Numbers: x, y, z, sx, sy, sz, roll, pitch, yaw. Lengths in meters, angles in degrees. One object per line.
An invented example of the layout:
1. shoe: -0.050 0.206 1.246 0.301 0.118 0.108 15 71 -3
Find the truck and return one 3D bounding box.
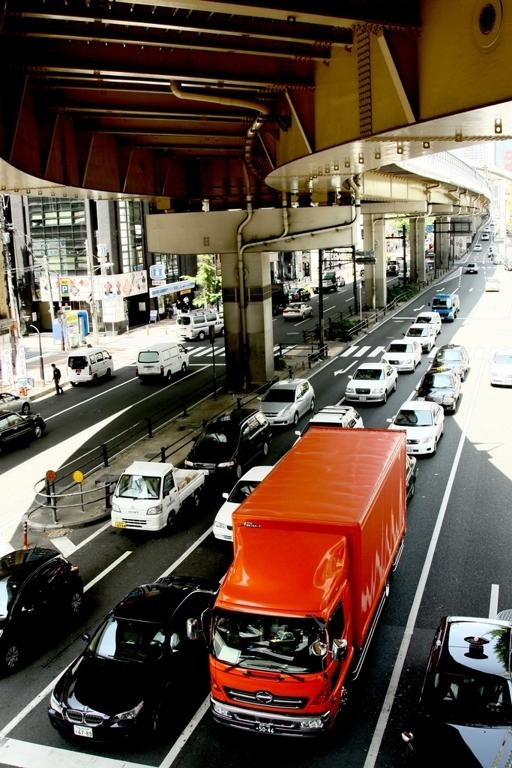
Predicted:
1. truck: 1.044 2.416 7.900 1.600 2.025 5.004 1 10 18

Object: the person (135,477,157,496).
1. person: -2.990 2.797 14.479 0.747 0.502 0.382 -2 3 21

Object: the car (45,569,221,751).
1. car: -1.643 3.864 7.979 1.368 1.089 3.411 -1 2 12
